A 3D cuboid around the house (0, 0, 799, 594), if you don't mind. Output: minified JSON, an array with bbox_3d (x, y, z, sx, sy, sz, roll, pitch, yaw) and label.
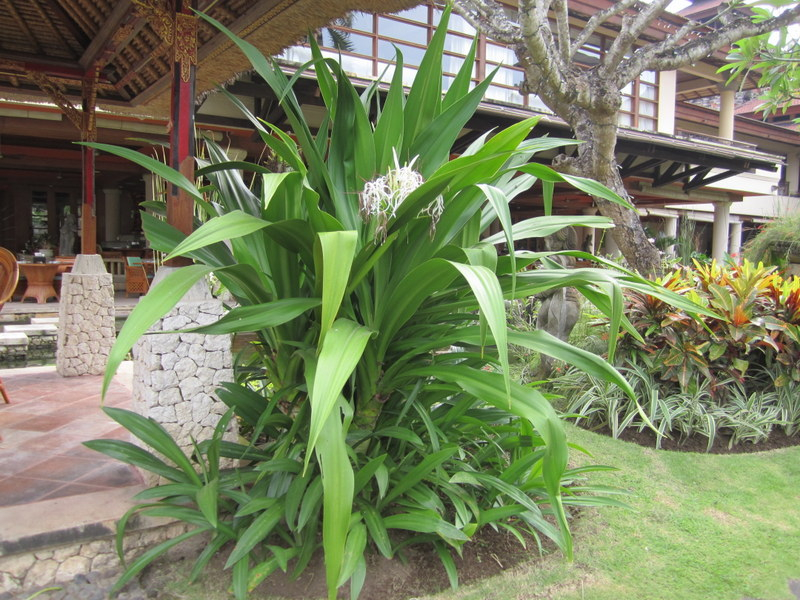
[{"bbox_3d":[-0.081,0.103,2.650,2.531,2.033,2.523,-1,1,-20],"label":"house"}]
